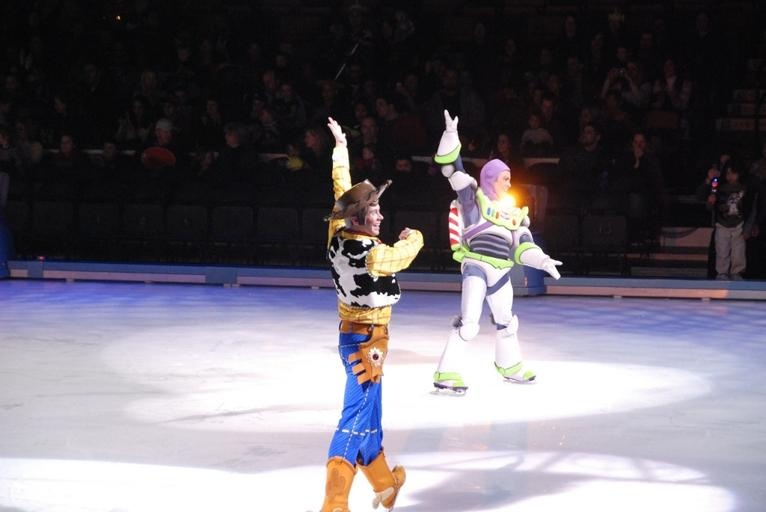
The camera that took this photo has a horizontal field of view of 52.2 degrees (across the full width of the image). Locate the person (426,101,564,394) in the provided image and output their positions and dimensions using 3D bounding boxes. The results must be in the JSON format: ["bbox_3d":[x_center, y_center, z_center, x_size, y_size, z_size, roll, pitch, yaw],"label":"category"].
[{"bbox_3d":[0.876,-0.048,6.923,0.999,2.391,0.695,-3,13,-18],"label":"person"}]

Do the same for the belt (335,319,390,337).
[{"bbox_3d":[-0.124,0.447,4.895,0.315,0.065,0.297,2,-1,6],"label":"belt"}]

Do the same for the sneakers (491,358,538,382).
[{"bbox_3d":[1.216,1.042,7.087,0.334,0.132,0.181,-1,5,12],"label":"sneakers"}]

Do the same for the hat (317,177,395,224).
[{"bbox_3d":[-0.170,-0.347,4.848,0.372,0.254,0.244,-1,11,-9],"label":"hat"}]

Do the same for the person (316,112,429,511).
[{"bbox_3d":[-0.067,0.552,4.820,0.581,2.018,0.764,1,12,1],"label":"person"}]

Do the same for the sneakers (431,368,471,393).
[{"bbox_3d":[0.565,1.082,6.777,0.268,0.100,0.180,8,-2,-25],"label":"sneakers"}]
